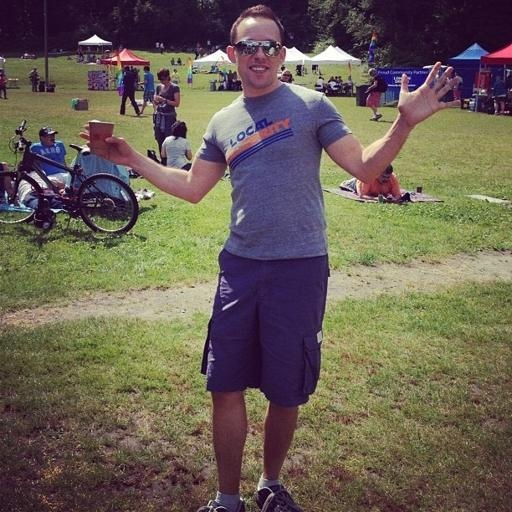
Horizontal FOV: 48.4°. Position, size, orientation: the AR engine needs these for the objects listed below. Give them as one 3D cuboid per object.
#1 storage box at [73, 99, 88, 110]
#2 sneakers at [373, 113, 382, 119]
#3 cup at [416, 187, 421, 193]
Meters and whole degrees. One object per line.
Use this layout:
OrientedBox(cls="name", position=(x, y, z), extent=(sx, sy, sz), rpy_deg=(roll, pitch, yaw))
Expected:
OrientedBox(cls="storage box", position=(-7.315, -6.279, 23.681), extent=(0.749, 0.475, 0.550), rpy_deg=(-1, 7, -11))
OrientedBox(cls="sneakers", position=(5.271, -6.044, 24.758), extent=(0.289, 0.210, 0.640), rpy_deg=(32, 21, 13))
OrientedBox(cls="cup", position=(3.117, -1.253, 10.806), extent=(0.115, 0.123, 0.111), rpy_deg=(2, 1, 0))
